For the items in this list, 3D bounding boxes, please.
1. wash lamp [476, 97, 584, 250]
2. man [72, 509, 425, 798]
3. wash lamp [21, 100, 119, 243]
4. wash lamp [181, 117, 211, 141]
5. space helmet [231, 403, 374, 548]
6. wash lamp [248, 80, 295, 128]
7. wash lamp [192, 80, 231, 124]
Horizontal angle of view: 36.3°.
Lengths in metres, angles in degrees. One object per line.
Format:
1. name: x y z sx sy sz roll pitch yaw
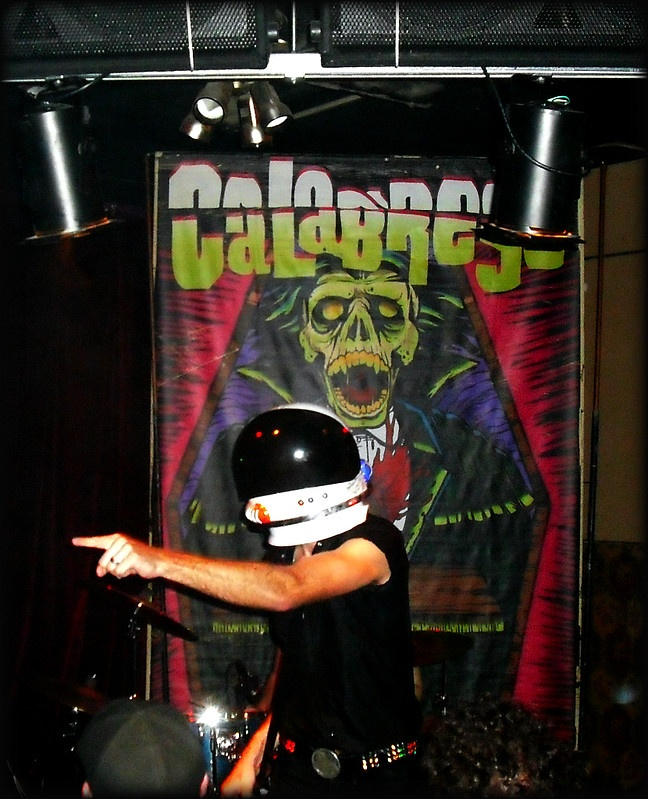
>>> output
1. wash lamp: 1.027 -1.108 4.861 0.601 0.653 0.558 4 8 -3
2. man: -0.167 0.936 3.768 1.055 0.789 1.437 -3 -5 25
3. wash lamp: -1.312 -1.130 4.823 0.474 0.632 0.549 4 21 29
4. wash lamp: -0.666 -1.418 5.188 0.135 0.127 0.133 25 19 -12
5. space helmet: -0.083 0.343 4.139 0.430 0.504 0.583 -21 -9 -8
6. wash lamp: -0.278 -1.514 5.079 0.156 0.265 0.148 -14 -17 -11
7. wash lamp: -0.552 -1.491 4.968 0.200 0.204 0.165 -3 11 -15
